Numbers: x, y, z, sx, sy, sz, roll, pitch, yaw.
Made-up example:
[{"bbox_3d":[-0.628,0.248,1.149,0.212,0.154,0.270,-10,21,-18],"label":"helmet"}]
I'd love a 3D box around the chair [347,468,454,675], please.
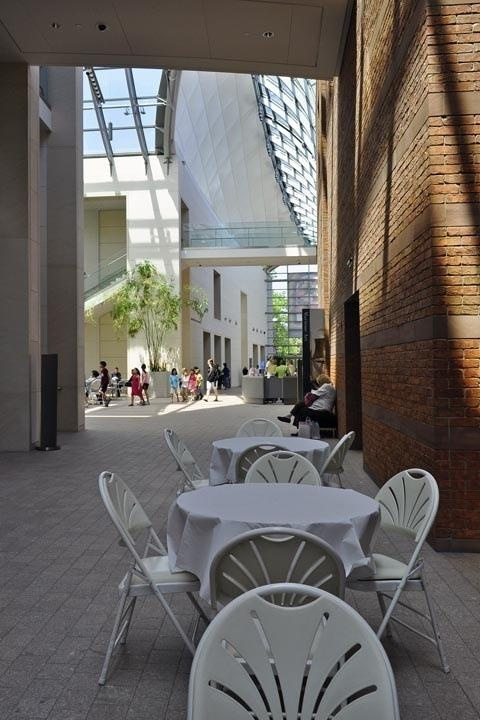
[{"bbox_3d":[0.884,1.260,2.689,0.591,1.193,0.656,-2,-5,24],"label":"chair"}]

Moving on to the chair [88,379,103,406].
[{"bbox_3d":[-7.642,1.690,22.865,0.687,1.983,1.110,0,-6,-5],"label":"chair"}]

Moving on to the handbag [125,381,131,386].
[{"bbox_3d":[-6.009,1.241,23.233,0.255,0.122,0.341,-6,-5,22],"label":"handbag"}]

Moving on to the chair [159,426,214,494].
[{"bbox_3d":[-0.906,1.672,7.279,0.737,1.765,0.846,-2,4,7],"label":"chair"}]

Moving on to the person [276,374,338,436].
[{"bbox_3d":[1.922,1.148,11.370,1.134,1.415,1.602,-3,2,11],"label":"person"}]
